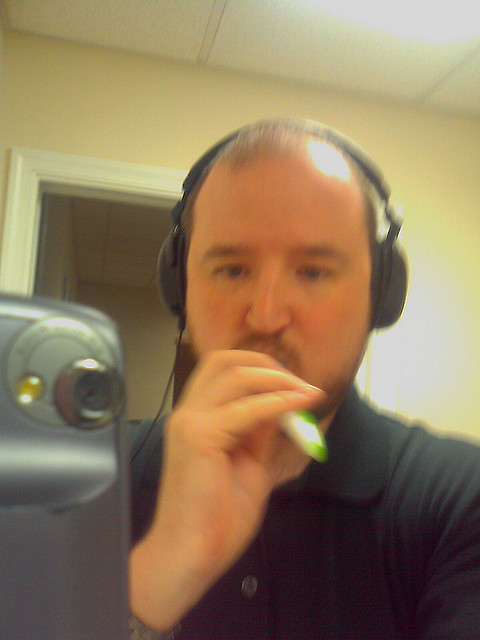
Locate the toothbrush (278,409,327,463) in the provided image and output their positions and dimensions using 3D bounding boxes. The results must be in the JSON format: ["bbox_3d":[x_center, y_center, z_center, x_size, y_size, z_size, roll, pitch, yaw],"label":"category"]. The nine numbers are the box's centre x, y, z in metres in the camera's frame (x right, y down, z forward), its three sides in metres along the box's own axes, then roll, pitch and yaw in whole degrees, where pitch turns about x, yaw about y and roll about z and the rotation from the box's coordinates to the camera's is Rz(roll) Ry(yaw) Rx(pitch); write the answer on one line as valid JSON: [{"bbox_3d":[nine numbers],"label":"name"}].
[{"bbox_3d":[0.068,0.120,0.665,0.037,0.026,0.076,3,14,-2],"label":"toothbrush"}]

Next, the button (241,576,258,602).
[{"bbox_3d":[0.008,0.257,0.641,0.006,0.023,0.021,8,0,35],"label":"button"}]

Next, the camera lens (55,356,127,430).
[{"bbox_3d":[-0.062,0.027,0.264,0.033,0.034,0.008,16,23,-33],"label":"camera lens"}]
